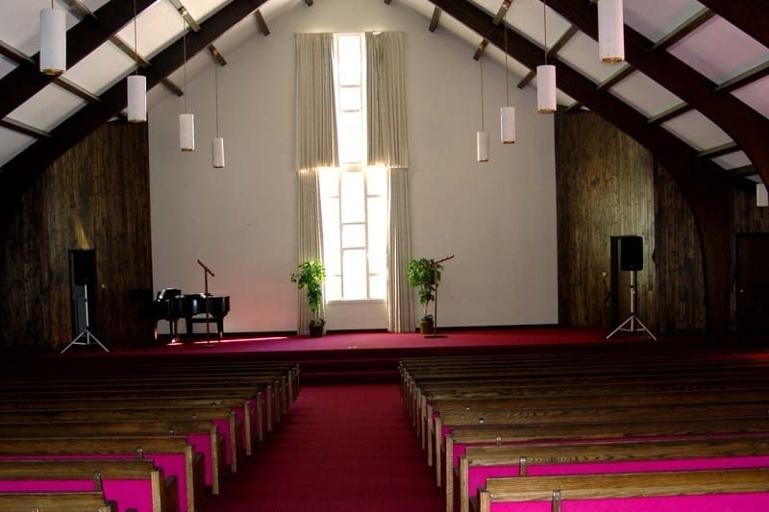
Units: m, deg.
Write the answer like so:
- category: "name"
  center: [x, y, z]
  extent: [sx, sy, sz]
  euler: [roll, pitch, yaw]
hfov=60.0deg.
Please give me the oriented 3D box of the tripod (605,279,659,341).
- category: "tripod"
  center: [5.071, 1.010, 13.912]
  extent: [1.064, 1.853, 1.192]
  euler: [1, -1, 29]

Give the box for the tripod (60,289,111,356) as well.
- category: "tripod"
  center: [-6.452, 1.613, 14.365]
  extent: [0.771, 1.776, 0.688]
  euler: [2, 4, 10]

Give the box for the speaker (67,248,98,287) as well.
- category: "speaker"
  center: [-6.519, 0.234, 14.317]
  extent: [0.175, 0.751, 0.769]
  euler: [1, 0, 18]
